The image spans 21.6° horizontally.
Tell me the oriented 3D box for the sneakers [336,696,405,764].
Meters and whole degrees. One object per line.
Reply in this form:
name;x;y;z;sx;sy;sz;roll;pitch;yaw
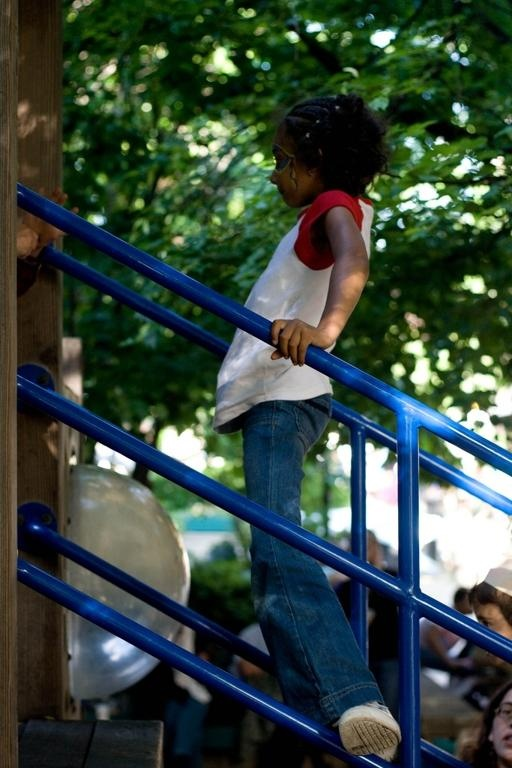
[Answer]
sneakers;0.326;0.874;3.409;0.202;0.100;0.081;29;22;-6
